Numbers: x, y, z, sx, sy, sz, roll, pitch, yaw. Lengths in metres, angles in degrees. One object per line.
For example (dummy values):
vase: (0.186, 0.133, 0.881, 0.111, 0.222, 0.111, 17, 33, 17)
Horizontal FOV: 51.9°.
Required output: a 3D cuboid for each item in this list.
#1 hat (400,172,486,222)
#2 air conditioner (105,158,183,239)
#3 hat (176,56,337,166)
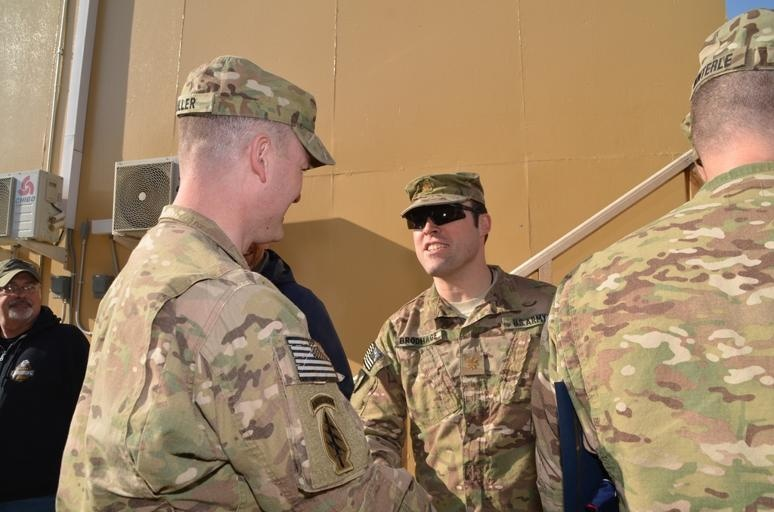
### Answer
hat: (0.380, -0.389, 5.037, 0.609, 0.229, 0.458, 0, -7, -40)
air conditioner: (-1.929, -0.465, 6.477, 0.520, 0.574, 0.301, -1, -7, 9)
hat: (-0.597, -0.678, 3.611, 0.641, 0.334, 0.434, 16, 6, -26)
